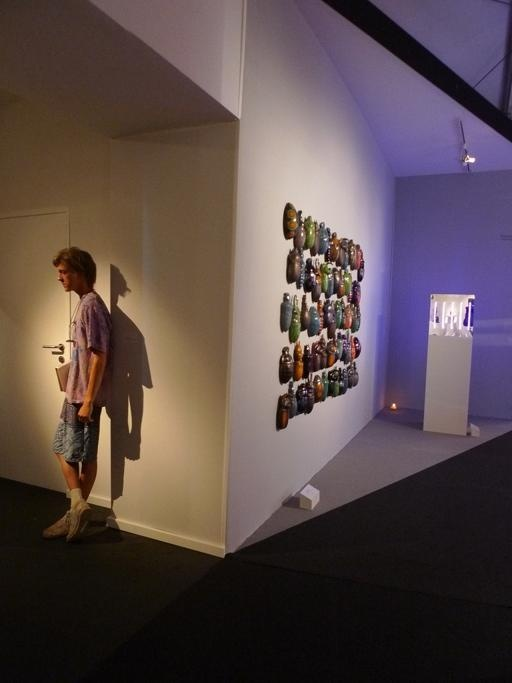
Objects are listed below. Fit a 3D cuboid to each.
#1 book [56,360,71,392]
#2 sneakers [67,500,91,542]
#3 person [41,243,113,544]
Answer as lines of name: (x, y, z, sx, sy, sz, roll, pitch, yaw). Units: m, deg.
book: (-1.050, 0.179, 2.934, 0.025, 0.154, 0.127, 0, 6, 8)
sneakers: (-0.897, 0.906, 2.728, 0.130, 0.204, 0.066, 2, 2, 8)
person: (-0.918, 0.259, 2.871, 0.331, 1.487, 0.382, 1, 2, 8)
